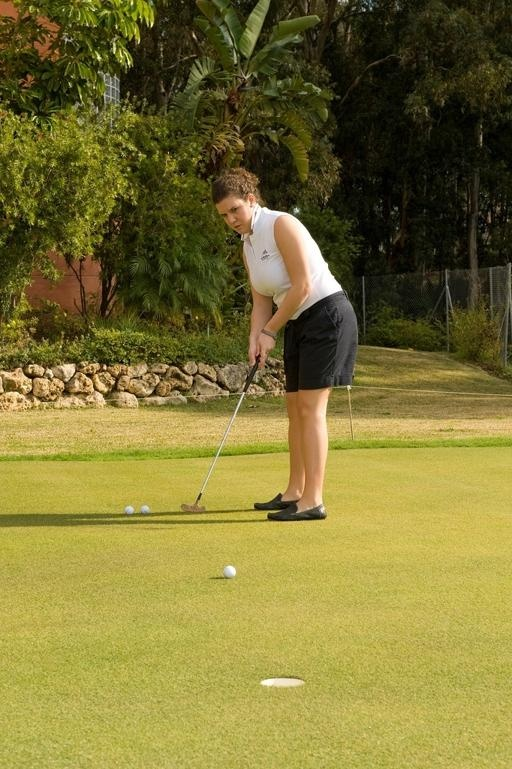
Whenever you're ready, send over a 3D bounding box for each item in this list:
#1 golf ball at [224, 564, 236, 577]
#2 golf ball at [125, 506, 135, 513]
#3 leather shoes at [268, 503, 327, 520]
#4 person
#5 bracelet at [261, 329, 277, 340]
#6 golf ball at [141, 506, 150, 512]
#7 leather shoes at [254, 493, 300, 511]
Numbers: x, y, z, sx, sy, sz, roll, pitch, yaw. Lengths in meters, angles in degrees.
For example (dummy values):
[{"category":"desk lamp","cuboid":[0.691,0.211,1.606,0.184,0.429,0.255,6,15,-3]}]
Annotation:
[{"category":"golf ball","cuboid":[-0.085,0.559,2.761,0.030,0.033,0.030,5,-12,1]},{"category":"golf ball","cuboid":[-0.541,0.537,3.911,0.037,0.033,0.019,-2,-39,-1]},{"category":"leather shoes","cuboid":[0.168,0.519,3.783,0.222,0.062,0.084,1,-8,-8]},{"category":"person","cuboid":[0.092,-0.222,4.087,0.593,1.551,0.728,0,2,22]},{"category":"bracelet","cuboid":[0.047,-0.229,4.101,0.062,0.035,0.066,17,3,15]},{"category":"golf ball","cuboid":[-0.482,0.534,3.933,0.033,0.024,0.052,7,-17,-9]},{"category":"leather shoes","cuboid":[0.087,0.518,4.055,0.202,0.077,0.071,-2,-6,-19]}]
